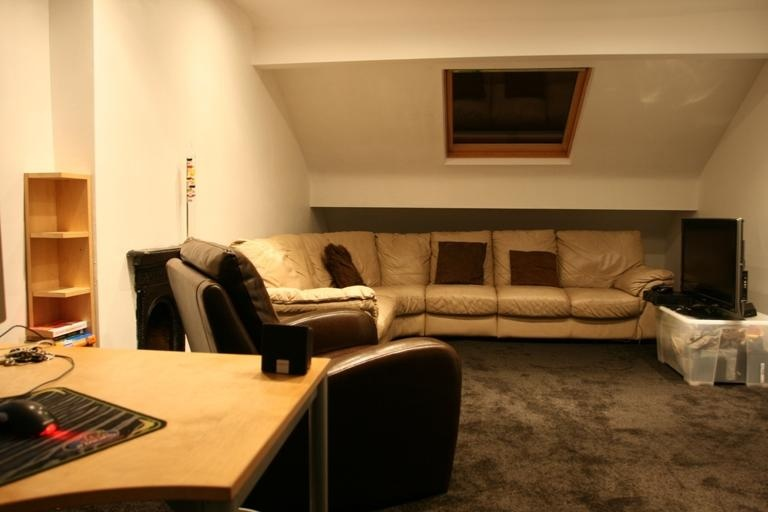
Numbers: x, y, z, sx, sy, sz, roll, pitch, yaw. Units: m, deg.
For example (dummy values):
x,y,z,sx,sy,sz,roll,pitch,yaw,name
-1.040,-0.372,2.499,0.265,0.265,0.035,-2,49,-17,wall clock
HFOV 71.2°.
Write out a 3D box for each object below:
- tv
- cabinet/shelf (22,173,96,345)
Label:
x,y,z,sx,sy,sz,roll,pitch,yaw,name
2.533,0.105,4.095,0.302,0.534,0.802,-2,6,10,tv
-1.784,-0.010,2.958,0.337,0.893,0.291,-3,12,-15,cabinet/shelf
